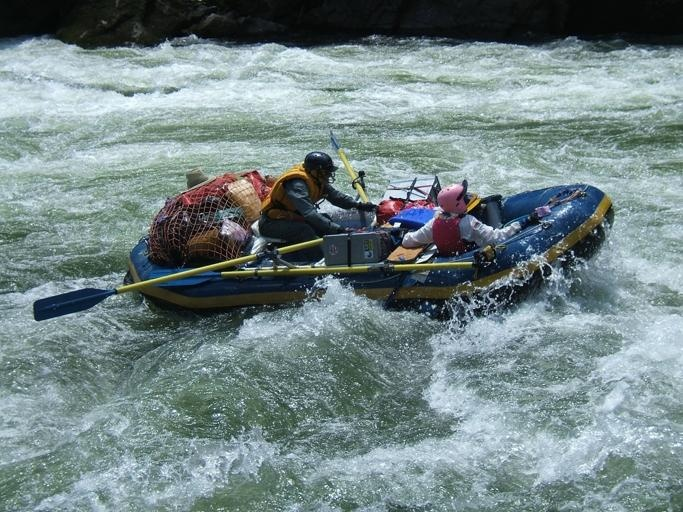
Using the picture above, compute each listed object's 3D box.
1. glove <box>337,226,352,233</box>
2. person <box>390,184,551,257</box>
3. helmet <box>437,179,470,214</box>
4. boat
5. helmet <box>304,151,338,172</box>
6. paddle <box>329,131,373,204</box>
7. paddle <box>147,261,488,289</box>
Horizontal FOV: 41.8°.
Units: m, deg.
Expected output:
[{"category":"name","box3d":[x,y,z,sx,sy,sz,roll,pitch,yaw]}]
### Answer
[{"category":"glove","box3d":[0.030,-0.336,11.667,0.183,0.048,0.092,7,8,24]},{"category":"person","box3d":[1.627,-0.414,11.570,1.554,0.449,0.438,1,31,31]},{"category":"helmet","box3d":[1.369,-0.737,11.243,0.358,0.421,0.336,2,19,4]},{"category":"boat","box3d":[0.449,0.204,11.570,5.659,0.658,2.103,-5,19,10]},{"category":"helmet","box3d":[-0.310,-1.244,11.963,0.431,0.263,0.283,0,18,-2]},{"category":"paddle","box3d":[0.046,-1.310,13.218,0.390,0.344,1.719,-34,40,9]},{"category":"paddle","box3d":[-0.152,0.251,11.416,3.919,0.262,0.199,-3,-17,7]}]
